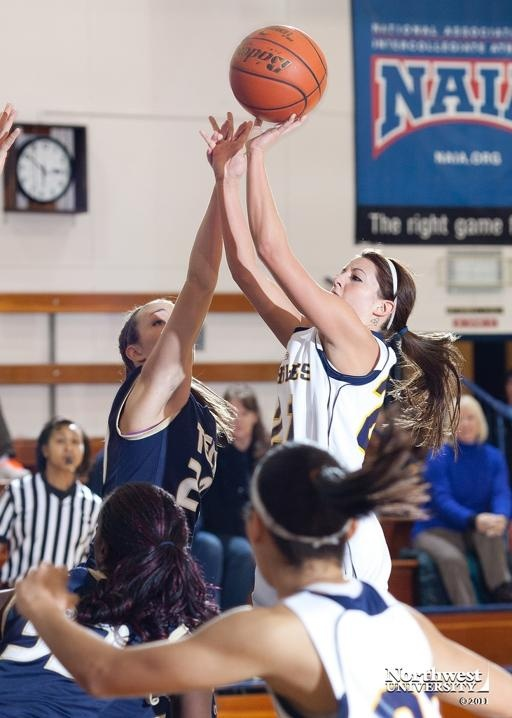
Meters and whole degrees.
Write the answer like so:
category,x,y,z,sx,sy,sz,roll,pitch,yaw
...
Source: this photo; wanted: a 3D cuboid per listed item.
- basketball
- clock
category,x,y,z,sx,sy,sz,roll,pitch,yaw
basketball,0.049,-0.654,2.232,0.165,0.237,0.183,9,9,38
clock,-0.880,-0.764,4.099,0.451,0.413,0.108,0,-3,19
